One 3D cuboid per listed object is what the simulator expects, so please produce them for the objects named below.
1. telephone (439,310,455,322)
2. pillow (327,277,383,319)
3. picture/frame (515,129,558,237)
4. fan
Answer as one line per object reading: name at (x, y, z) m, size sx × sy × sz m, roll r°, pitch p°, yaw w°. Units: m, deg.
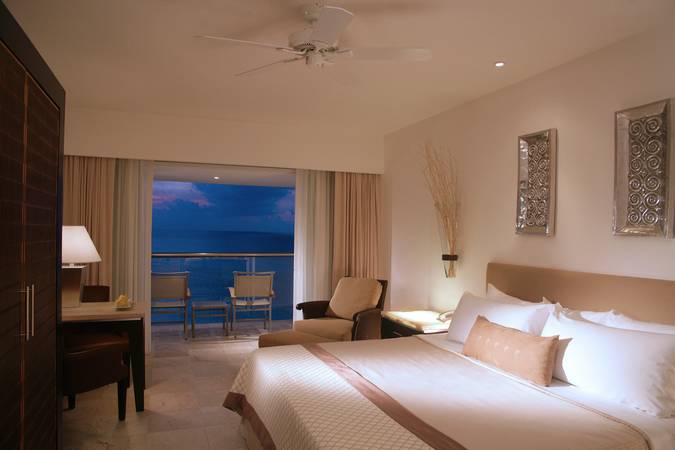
telephone at (1.209, 1.014, 4.817) m, size 0.173 × 0.067 × 0.171 m, roll -5°, pitch 1°, yaw -17°
pillow at (0.211, 0.898, 5.348) m, size 0.541 × 0.523 × 0.167 m, roll 6°, pitch -19°, yaw 39°
picture/frame at (1.911, -0.403, 4.164) m, size 0.165 × 0.979 × 0.444 m, roll -4°, pitch 8°, yaw -27°
fan at (-0.112, -1.443, 3.344) m, size 1.398 × 0.390 × 1.000 m, roll 4°, pitch 7°, yaw 36°
